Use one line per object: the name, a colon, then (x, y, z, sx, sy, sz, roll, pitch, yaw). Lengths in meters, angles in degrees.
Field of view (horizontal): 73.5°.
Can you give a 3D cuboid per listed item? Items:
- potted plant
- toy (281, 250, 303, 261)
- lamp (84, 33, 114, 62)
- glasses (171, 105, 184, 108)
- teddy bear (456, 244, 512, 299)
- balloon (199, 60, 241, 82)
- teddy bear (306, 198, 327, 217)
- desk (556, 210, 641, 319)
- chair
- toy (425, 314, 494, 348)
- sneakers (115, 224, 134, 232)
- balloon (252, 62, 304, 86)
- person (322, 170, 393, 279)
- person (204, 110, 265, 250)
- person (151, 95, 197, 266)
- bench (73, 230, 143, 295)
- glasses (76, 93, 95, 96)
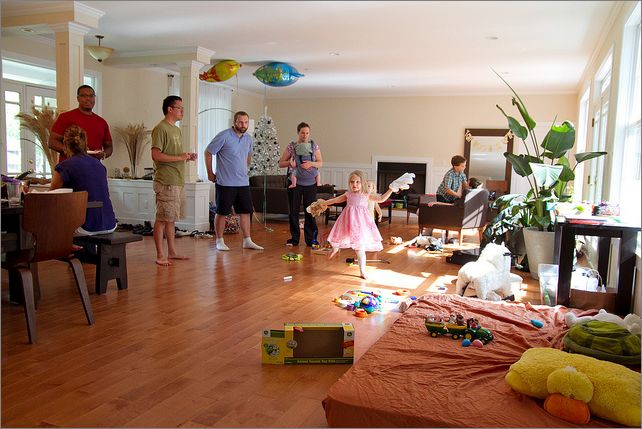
potted plant: (2.799, -0.582, 5.605, 1.039, 1.872, 1.017, 11, -2, 2)
toy: (-0.404, 0.578, 5.864, 0.271, 0.063, 0.249, -5, 15, -29)
lamp: (-3.518, -2.655, 6.780, 0.340, 0.417, 0.785, -5, 14, -26)
glasses: (-1.768, -1.330, 5.314, 0.056, 0.046, 0.188, 4, 13, 7)
teddy bear: (1.661, 0.581, 4.283, 0.574, 0.490, 0.327, -2, 7, -24)
balloon: (-1.958, -2.751, 8.142, 0.771, 0.384, 0.323, 9, 15, 29)
teddy bear: (-0.029, -0.103, 5.328, 0.253, 0.113, 0.186, -18, -4, -45)
desk: (2.498, 0.398, 4.044, 0.709, 1.058, 0.924, 3, 9, 25)
chair: (-2.247, 0.382, 3.511, 0.660, 1.168, 0.525, -6, 15, -29)
toy: (1.009, 0.837, 3.202, 0.554, 0.202, 0.194, 0, 4, 21)
sneakers: (-3.461, 0.235, 7.569, 0.384, 0.162, 0.137, 3, -4, -1)
balloon: (-0.837, -2.687, 8.111, 0.798, 0.425, 0.398, 7, 14, 20)
person: (0.407, 0.114, 5.161, 0.649, 1.226, 0.516, 2, 13, -1)
person: (-1.291, -0.448, 6.029, 0.643, 1.954, 0.405, -2, 14, -16)
person: (-1.861, -0.420, 5.364, 0.512, 2.085, 0.553, -2, 14, -17)
bench: (-2.225, 0.551, 4.447, 0.533, 0.457, 0.533, -12, -2, 27)
glasses: (-2.813, -1.430, 5.140, 0.162, 0.052, 0.100, -6, 15, -32)
